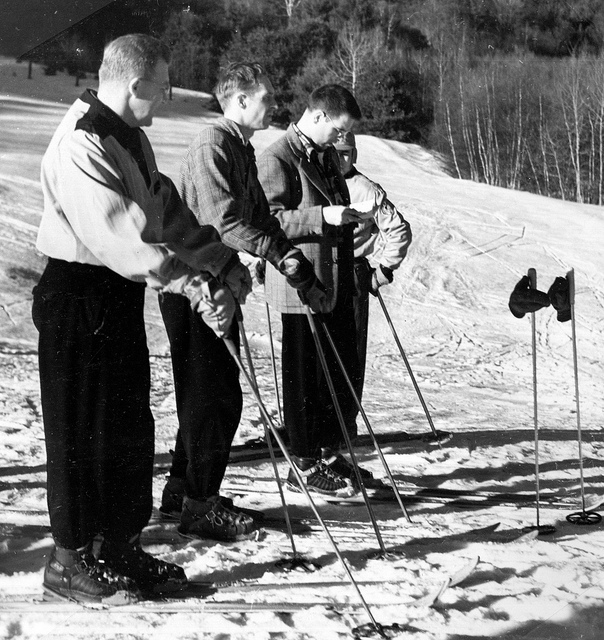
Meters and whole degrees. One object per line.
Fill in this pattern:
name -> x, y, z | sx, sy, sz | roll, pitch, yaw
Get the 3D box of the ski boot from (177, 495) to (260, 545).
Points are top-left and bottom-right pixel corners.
ski boot -> -0.272, 0.649, 3.633 | 0.257, 0.136, 0.122 | 2, 5, -7

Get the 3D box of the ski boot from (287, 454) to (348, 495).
ski boot -> 0.029, 0.602, 4.232 | 0.270, 0.126, 0.101 | 6, 22, 17

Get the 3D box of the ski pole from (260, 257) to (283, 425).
ski pole -> -0.107, 0.124, 4.694 | 0.074, 0.708, 0.075 | -6, 10, -6

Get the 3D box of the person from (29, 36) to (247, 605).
person -> -0.485, -0.004, 3.221 | 0.545, 1.582, 0.333 | -3, 9, -33

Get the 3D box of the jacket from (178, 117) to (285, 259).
jacket -> -0.198, -0.377, 3.810 | 0.379, 0.544, 0.477 | 5, 0, 6

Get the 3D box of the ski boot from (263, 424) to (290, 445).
ski boot -> -0.097, 0.492, 4.793 | 0.074, 0.098, 0.228 | -3, -11, 21

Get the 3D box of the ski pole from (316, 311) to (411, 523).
ski pole -> 0.247, 0.425, 4.614 | 0.022, 0.853, 0.057 | -22, -13, -35

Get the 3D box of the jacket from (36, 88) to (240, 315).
jacket -> -0.457, -0.345, 3.205 | 0.546, 0.506, 0.625 | 10, 15, 6

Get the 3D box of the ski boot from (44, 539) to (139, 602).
ski boot -> -0.610, 0.729, 3.282 | 0.312, 0.238, 0.120 | 4, 0, -3
